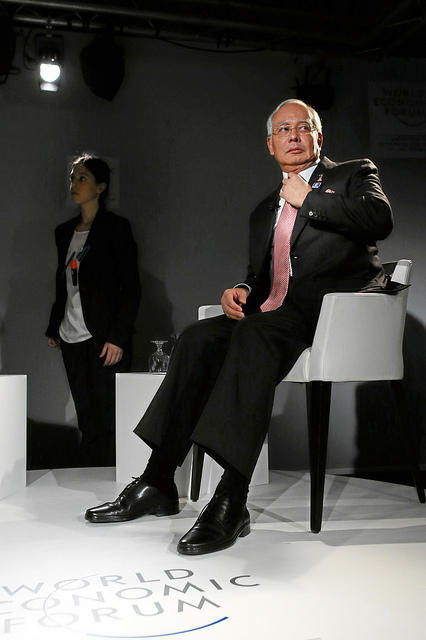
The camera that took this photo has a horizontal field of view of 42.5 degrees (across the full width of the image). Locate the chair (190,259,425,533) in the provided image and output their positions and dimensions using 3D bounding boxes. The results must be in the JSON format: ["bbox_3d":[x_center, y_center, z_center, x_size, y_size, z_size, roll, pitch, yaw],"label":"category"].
[{"bbox_3d":[0.323,0.254,2.061,0.743,0.991,0.772,8,-12,-35],"label":"chair"}]

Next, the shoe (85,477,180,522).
[{"bbox_3d":[-0.229,0.508,1.566,0.288,0.122,0.096,2,-13,-29],"label":"shoe"}]

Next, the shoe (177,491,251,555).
[{"bbox_3d":[0.014,0.467,1.284,0.094,0.118,0.272,2,-4,31],"label":"shoe"}]
